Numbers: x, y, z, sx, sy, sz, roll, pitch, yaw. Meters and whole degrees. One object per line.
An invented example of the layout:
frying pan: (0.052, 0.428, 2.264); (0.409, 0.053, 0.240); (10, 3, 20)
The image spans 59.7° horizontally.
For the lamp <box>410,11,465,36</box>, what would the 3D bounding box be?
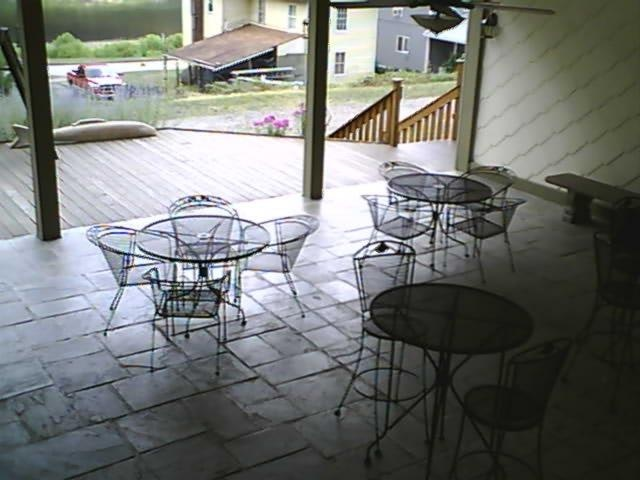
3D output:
lamp: (1.014, -1.838, 4.726); (0.287, 0.166, 0.491); (-20, 30, -41)

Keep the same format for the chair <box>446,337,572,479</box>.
chair: (1.281, 1.175, 3.756); (0.763, 1.069, 0.614); (5, 31, 8)

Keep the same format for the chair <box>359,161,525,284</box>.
chair: (1.528, -0.051, 6.677); (2.082, 0.752, 1.752); (11, 30, 20)
